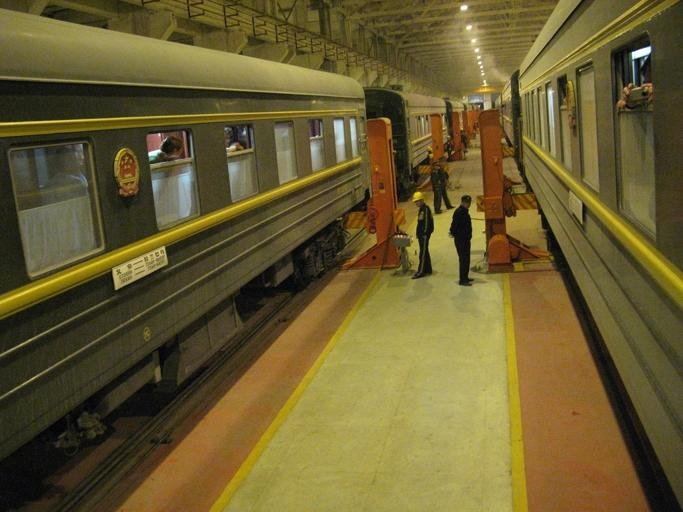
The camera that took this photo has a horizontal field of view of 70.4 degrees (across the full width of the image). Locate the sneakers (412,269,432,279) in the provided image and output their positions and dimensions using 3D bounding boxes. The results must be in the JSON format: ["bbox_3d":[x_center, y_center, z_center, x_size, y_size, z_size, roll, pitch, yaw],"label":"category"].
[{"bbox_3d":[1.766,0.402,10.663,0.494,0.206,0.162,1,-1,-34],"label":"sneakers"}]
